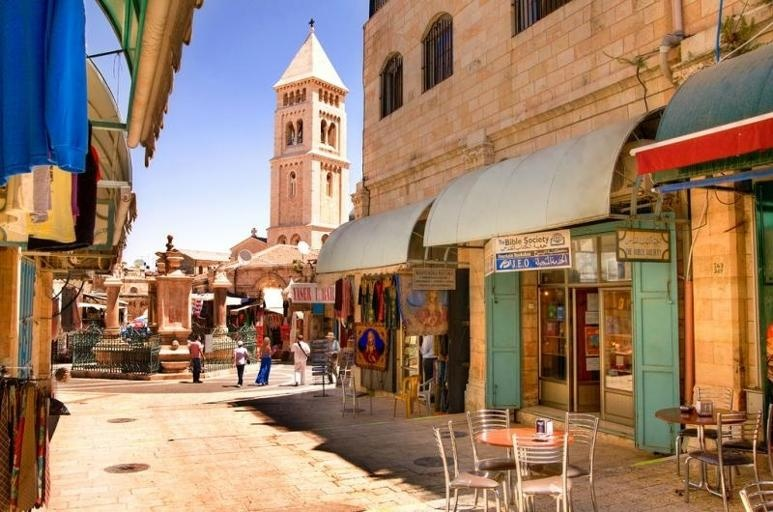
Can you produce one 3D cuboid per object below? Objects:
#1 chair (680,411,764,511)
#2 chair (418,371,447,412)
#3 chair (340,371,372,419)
[{"bbox_3d":[5.199,3.145,11.035,1.154,1.446,1.831,-5,-10,27],"label":"chair"},{"bbox_3d":[1.234,3.386,17.771,0.549,0.686,0.548,3,2,26],"label":"chair"},{"bbox_3d":[-0.832,3.700,19.071,0.763,1.041,0.765,-1,-1,-2],"label":"chair"}]
